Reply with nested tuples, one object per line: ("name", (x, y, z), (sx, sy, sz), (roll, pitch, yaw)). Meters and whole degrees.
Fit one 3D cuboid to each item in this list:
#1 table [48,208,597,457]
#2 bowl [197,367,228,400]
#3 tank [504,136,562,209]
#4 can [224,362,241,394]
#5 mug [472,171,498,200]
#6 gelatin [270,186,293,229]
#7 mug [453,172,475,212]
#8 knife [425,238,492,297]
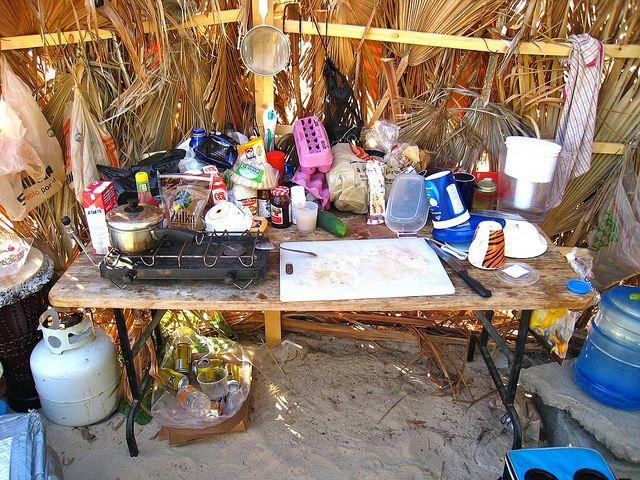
("table", (0.049, 0.495, 2.392), (2.489, 1.177, 0.843), (1, 28, 0))
("bowl", (-0.636, 0.860, 2.517), (0.157, 0.116, 0.161), (-2, 22, 1))
("tank", (1.110, -0.381, 2.335), (0.234, 0.357, 0.254), (8, 31, 13))
("can", (-0.547, 0.821, 2.585), (0.074, 0.081, 0.129), (-13, 56, 4))
("mug", (0.977, -0.342, 2.572), (0.160, 0.173, 0.164), (10, 19, 38))
("gelatin", (-0.215, -0.177, 2.319), (0.128, 0.223, 0.127), (11, 30, 22))
("mug", (0.792, -0.260, 2.373), (0.125, 0.187, 0.156), (9, 29, 15))
("knife", (0.646, 0.124, 2.028), (0.078, 0.064, 0.471), (-10, 30, -21))
